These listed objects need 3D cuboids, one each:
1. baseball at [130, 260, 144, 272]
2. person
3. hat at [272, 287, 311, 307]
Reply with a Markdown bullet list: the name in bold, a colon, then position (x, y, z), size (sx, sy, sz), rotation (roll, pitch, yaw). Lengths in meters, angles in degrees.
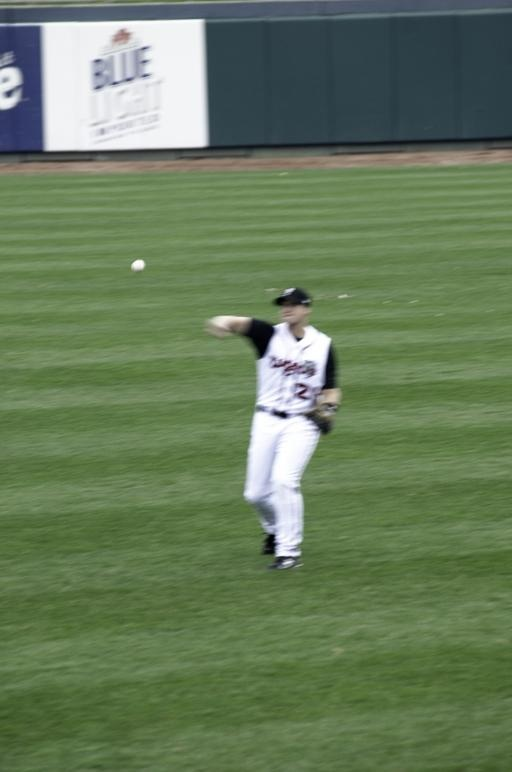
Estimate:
- **baseball**: position (-1.154, -1.137, 13.275), size (0.128, 0.064, 0.165), rotation (-6, 20, -24)
- **person**: position (0.082, 0.220, 7.425), size (0.590, 1.487, 0.542), rotation (12, 19, 29)
- **hat**: position (0.195, -0.464, 7.347), size (0.126, 0.078, 0.177), rotation (-2, -8, 37)
